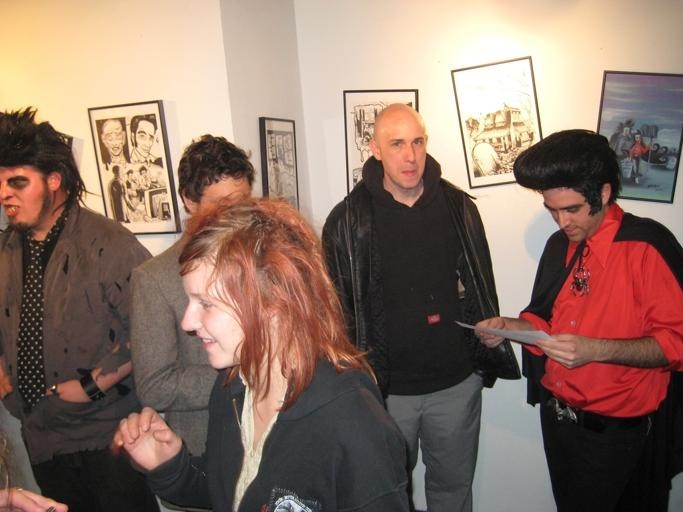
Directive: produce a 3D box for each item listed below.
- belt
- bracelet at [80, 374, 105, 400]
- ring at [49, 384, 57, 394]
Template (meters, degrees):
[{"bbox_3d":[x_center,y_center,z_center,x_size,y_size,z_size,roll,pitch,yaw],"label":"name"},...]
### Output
[{"bbox_3d":[1.250,0.750,2.557,0.208,0.052,0.208,21,-3,-19],"label":"belt"},{"bbox_3d":[-1.210,0.624,2.530,0.063,0.129,0.119,-36,10,-23],"label":"bracelet"},{"bbox_3d":[-1.408,0.653,2.554,0.041,0.041,0.039,-2,-18,-1],"label":"ring"}]
